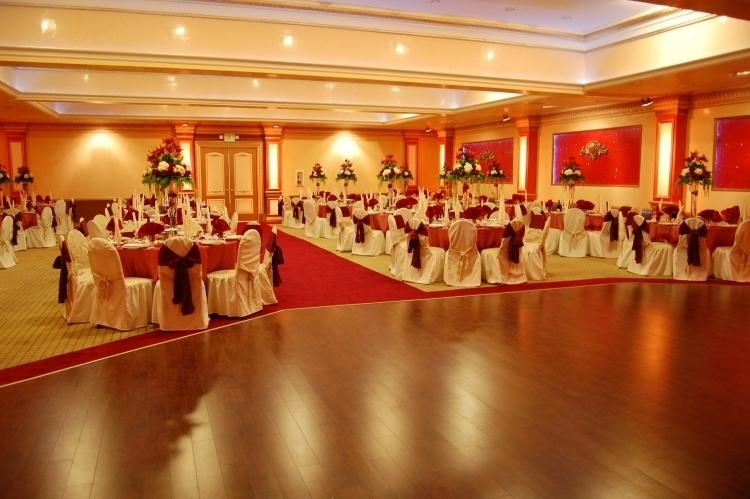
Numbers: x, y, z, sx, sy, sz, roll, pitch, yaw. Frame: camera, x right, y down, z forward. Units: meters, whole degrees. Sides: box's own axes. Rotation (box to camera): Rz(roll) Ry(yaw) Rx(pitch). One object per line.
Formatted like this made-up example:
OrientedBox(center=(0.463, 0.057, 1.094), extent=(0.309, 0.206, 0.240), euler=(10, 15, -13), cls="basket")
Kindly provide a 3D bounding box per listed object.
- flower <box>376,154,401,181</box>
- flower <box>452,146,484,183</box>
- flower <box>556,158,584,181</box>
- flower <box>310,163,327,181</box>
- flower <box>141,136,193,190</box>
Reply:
OrientedBox(center=(0.459, -2.515, 14.992), extent=(0.642, 0.835, 0.988), euler=(0, 13, -2), cls="flower")
OrientedBox(center=(2.237, -2.059, 11.701), extent=(0.828, 0.904, 0.847), euler=(-9, 12, -28), cls="flower")
OrientedBox(center=(4.973, -1.980, 12.191), extent=(0.470, 0.518, 0.455), euler=(4, 13, 16), cls="flower")
OrientedBox(center=(-1.997, -2.786, 17.192), extent=(0.614, 0.735, 0.348), euler=(-1, -2, 6), cls="flower")
OrientedBox(center=(-3.205, -1.256, 7.374), extent=(0.811, 0.892, 0.828), euler=(-6, 10, -30), cls="flower")
